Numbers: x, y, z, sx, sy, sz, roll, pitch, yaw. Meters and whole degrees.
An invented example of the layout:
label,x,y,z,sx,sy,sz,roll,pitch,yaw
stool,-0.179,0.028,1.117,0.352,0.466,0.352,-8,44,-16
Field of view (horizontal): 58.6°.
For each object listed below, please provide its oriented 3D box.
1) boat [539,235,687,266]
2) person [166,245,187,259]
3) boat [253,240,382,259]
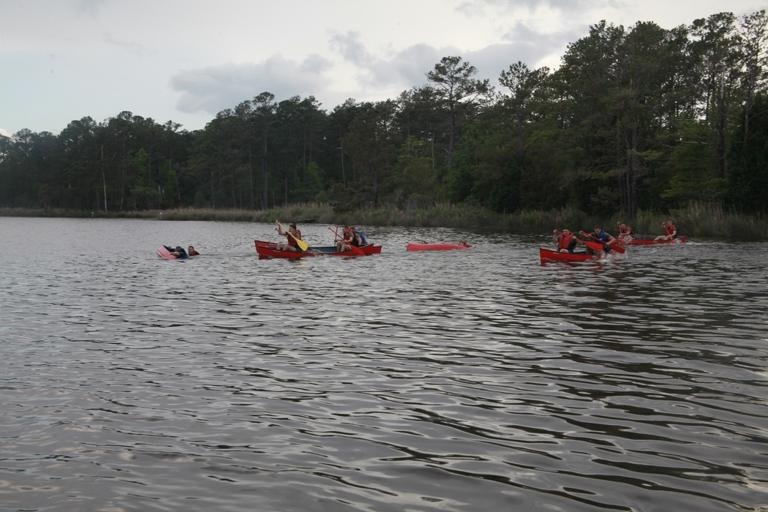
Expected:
label,x,y,z,sx,sy,sz,roll,pitch,yaw
boat,10.434,-0.261,31.004,7.990,0.717,1.308,-3,-4,-27
person,-9.413,-0.209,31.108,0.842,0.339,0.624,28,6,32
boat,-3.136,-0.325,32.150,5.731,0.675,1.151,2,0,-18
